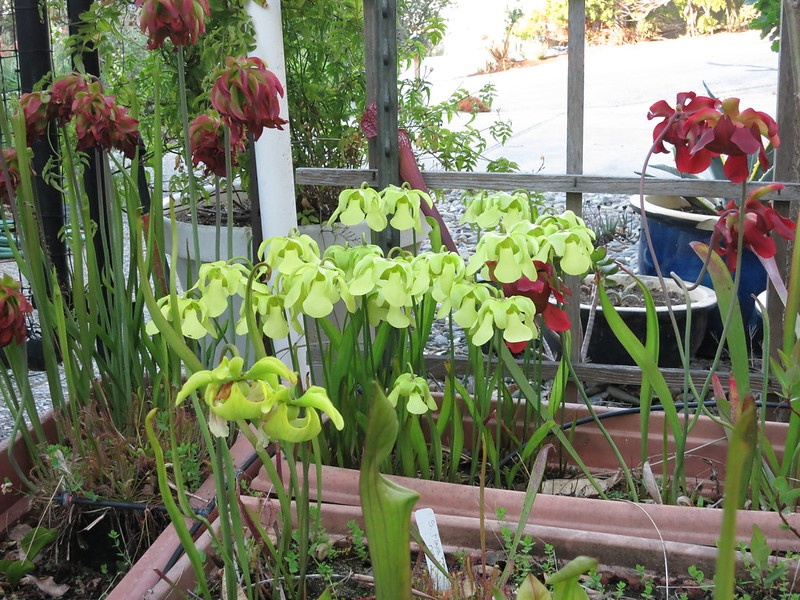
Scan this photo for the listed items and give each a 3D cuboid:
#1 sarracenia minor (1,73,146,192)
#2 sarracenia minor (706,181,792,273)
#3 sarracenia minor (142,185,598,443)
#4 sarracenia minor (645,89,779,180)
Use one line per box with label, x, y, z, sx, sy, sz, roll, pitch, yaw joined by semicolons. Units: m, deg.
sarracenia minor;-0.691;-0.396;1.562;0.242;0.186;0.163;1;12;26
sarracenia minor;0.690;-0.137;1.419;0.141;0.191;0.259;2;13;30
sarracenia minor;-0.015;-0.030;1.281;0.693;0.284;0.517;-26;39;-24
sarracenia minor;0.569;-0.299;1.331;0.217;0.172;0.169;2;12;31
